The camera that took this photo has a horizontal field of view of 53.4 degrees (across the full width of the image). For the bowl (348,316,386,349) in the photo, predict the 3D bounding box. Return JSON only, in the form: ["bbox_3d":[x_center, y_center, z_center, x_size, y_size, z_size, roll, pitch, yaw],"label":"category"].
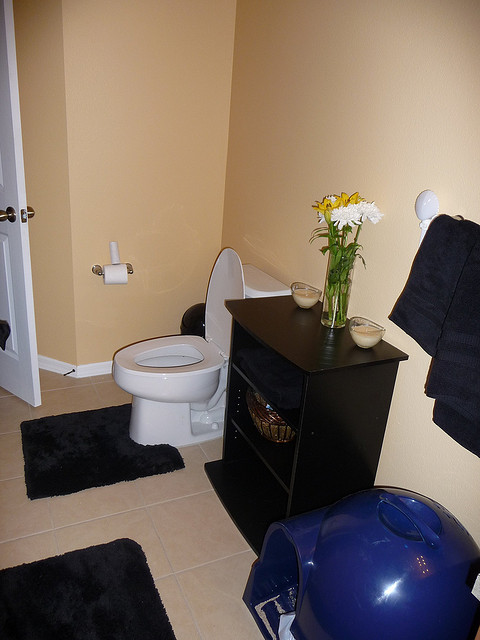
[{"bbox_3d":[0.321,0.040,1.235,0.093,0.058,0.095,5,22,-2],"label":"bowl"}]

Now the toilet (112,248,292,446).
[{"bbox_3d":[-0.174,0.138,1.910,0.620,0.780,0.413,-10,30,-35],"label":"toilet"}]

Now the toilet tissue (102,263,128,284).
[{"bbox_3d":[-0.575,-0.208,2.180,0.098,0.110,0.083,-3,27,-12],"label":"toilet tissue"}]

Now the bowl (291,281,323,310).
[{"bbox_3d":[0.205,-0.095,1.509,0.073,0.066,0.090,7,26,-30],"label":"bowl"}]

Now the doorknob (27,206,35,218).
[{"bbox_3d":[-0.833,-0.422,1.893,0.018,0.056,0.130,-4,24,-21],"label":"doorknob"}]

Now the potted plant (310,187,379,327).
[{"bbox_3d":[0.276,-0.152,1.298,0.128,0.323,0.161,7,-2,-31],"label":"potted plant"}]

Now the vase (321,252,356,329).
[{"bbox_3d":[0.267,-0.084,1.329,0.078,0.209,0.072,14,21,27],"label":"vase"}]
